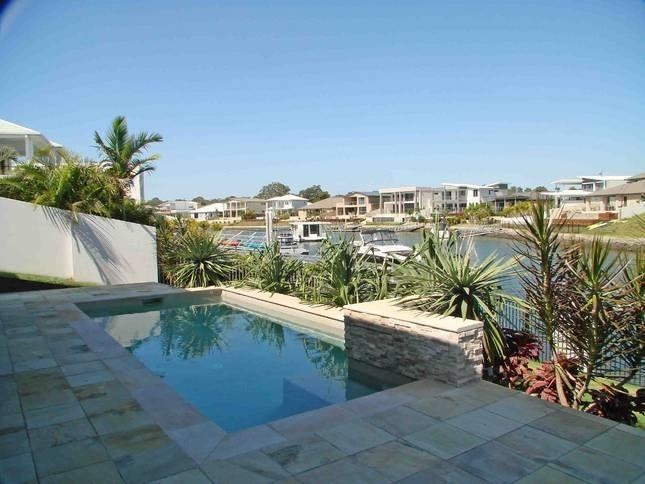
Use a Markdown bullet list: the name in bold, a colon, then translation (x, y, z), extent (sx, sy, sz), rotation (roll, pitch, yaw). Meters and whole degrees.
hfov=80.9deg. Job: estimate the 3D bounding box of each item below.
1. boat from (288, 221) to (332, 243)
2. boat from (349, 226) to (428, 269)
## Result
- **boat**: translation (-1.161, -0.785, 31.293), extent (3.000, 1.218, 3.609), rotation (0, 2, -3)
- **boat**: translation (2.946, 0.137, 16.008), extent (1.314, 1.071, 4.266), rotation (-2, 1, -13)
